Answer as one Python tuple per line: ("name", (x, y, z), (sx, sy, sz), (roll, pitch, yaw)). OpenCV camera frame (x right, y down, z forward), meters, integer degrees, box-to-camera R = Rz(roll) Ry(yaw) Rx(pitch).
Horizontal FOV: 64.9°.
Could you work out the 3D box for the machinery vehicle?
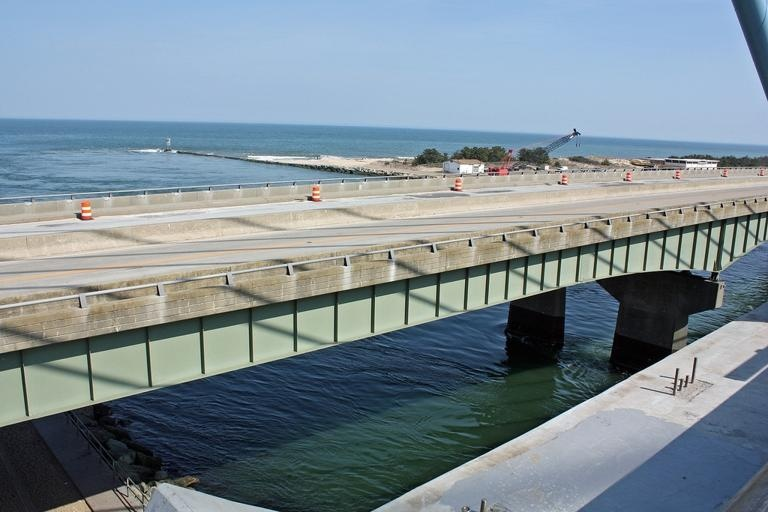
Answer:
("machinery vehicle", (34.944, -25.917, 143.520), (39.373, 9.220, 3.341), (-19, 23, -35))
